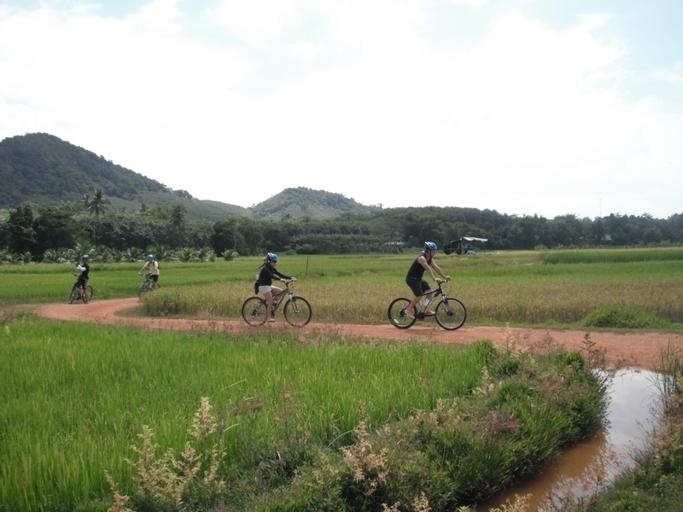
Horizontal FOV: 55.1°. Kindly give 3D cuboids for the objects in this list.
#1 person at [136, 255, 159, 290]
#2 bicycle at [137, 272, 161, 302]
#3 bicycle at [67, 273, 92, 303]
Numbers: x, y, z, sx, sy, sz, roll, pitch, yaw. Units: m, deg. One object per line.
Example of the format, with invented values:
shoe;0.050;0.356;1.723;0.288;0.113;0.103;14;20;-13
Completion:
person;-9.496;0.769;32.456;0.607;1.229;1.216;7;7;-2
bicycle;-9.852;1.610;33.518;1.254;1.431;2.172;3;1;4
bicycle;-13.200;1.619;33.090;0.885;1.280;1.925;7;0;0
